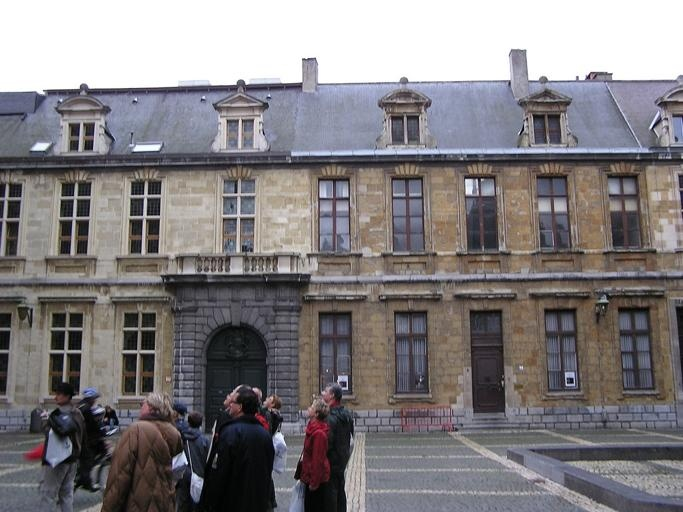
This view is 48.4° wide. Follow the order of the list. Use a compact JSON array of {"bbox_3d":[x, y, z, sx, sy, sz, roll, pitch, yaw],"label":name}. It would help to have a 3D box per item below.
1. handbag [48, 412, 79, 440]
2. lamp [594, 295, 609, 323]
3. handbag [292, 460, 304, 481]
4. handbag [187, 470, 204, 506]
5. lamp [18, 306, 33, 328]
[{"bbox_3d":[-5.907,3.560,16.193,0.440,0.616,0.254,-21,6,-24],"label":"handbag"},{"bbox_3d":[9.329,1.790,27.110,0.530,0.974,0.690,-5,-14,13],"label":"lamp"},{"bbox_3d":[-0.851,4.440,15.661,0.288,0.447,0.441,1,-15,3],"label":"handbag"},{"bbox_3d":[-2.879,4.625,15.188,0.260,0.638,0.424,1,-14,-11],"label":"handbag"},{"bbox_3d":[-11.239,2.097,27.183,0.430,0.770,0.943,2,-14,-14],"label":"lamp"}]
